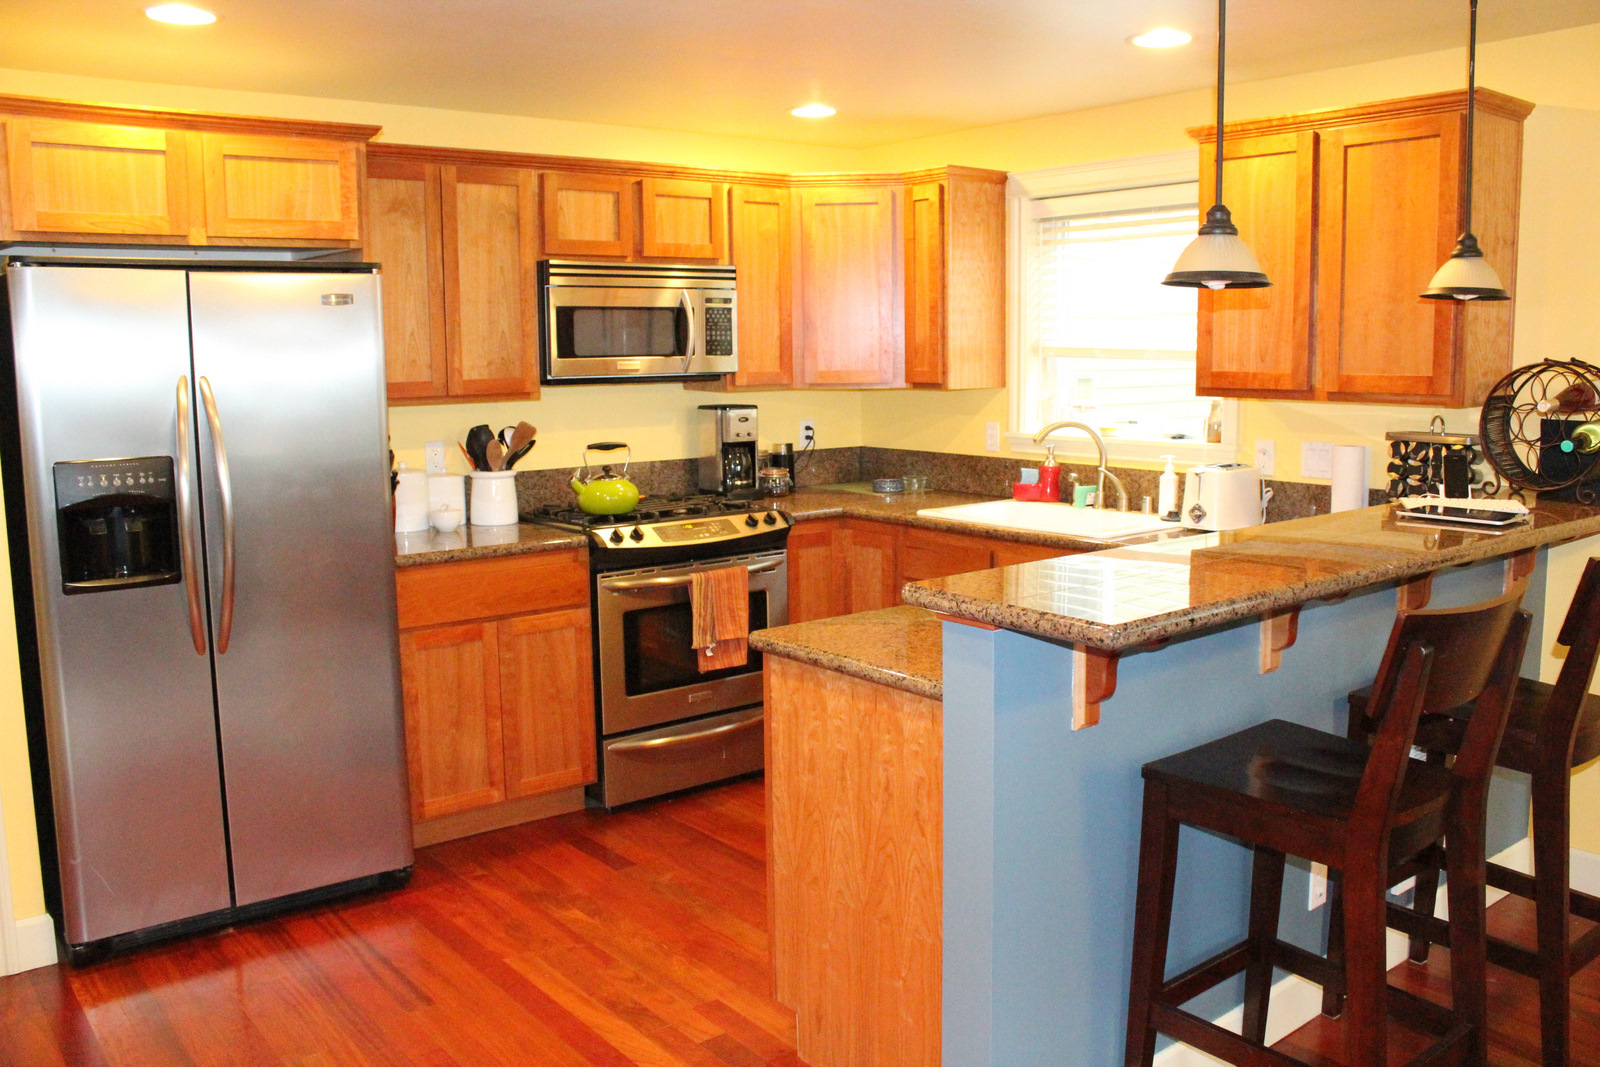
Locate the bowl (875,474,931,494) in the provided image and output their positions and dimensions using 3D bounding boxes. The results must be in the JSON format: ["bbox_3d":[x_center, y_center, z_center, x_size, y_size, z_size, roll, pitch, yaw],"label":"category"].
[{"bbox_3d":[0.536,-0.257,6.249,0.217,0.075,0.132,0,3,12],"label":"bowl"}]

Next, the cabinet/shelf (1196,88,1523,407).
[{"bbox_3d":[2.086,-1.044,4.325,0.476,1.158,1.330,-4,6,-40],"label":"cabinet/shelf"}]

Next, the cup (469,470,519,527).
[{"bbox_3d":[-1.342,-0.153,5.215,0.244,0.238,0.243,1,5,0],"label":"cup"}]

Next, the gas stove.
[{"bbox_3d":[-0.694,-0.035,5.506,1.053,0.258,0.901,-7,16,-35],"label":"gas stove"}]

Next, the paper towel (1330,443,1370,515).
[{"bbox_3d":[2.158,-0.230,4.723,0.171,0.257,0.161,-2,3,14],"label":"paper towel"}]

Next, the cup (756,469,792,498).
[{"bbox_3d":[-0.122,-0.259,6.107,0.154,0.129,0.145,0,5,0],"label":"cup"}]

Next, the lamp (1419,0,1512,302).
[{"bbox_3d":[2.265,-1.286,3.975,0.228,1.005,0.827,4,12,30],"label":"lamp"}]

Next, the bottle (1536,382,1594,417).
[{"bbox_3d":[2.725,-0.477,4.183,0.120,0.117,0.095,-3,10,-7],"label":"bottle"}]

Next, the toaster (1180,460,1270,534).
[{"bbox_3d":[1.729,-0.157,4.799,0.398,0.248,0.276,-11,13,-42],"label":"toaster"}]

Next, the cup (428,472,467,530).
[{"bbox_3d":[-1.508,-0.138,5.138,0.172,0.231,0.168,-2,10,0],"label":"cup"}]

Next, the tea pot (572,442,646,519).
[{"bbox_3d":[-0.872,-0.265,5.534,0.301,0.342,0.436,8,10,39],"label":"tea pot"}]

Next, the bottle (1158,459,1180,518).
[{"bbox_3d":[1.638,-0.202,5.238,0.089,0.257,0.218,1,11,18],"label":"bottle"}]

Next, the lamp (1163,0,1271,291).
[{"bbox_3d":[1.398,-1.293,3.916,0.288,0.954,1.099,2,11,20],"label":"lamp"}]
